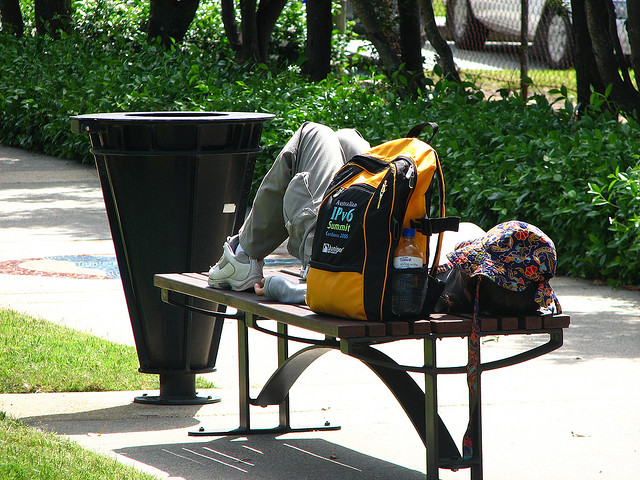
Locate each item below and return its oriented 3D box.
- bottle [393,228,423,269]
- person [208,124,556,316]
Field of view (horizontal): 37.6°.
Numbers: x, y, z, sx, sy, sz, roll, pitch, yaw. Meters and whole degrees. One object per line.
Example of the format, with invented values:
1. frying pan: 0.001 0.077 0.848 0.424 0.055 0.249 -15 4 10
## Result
1. bottle: 0.455 0.083 4.864 0.151 0.280 0.156 1 -3 0
2. person: 0.239 -0.119 5.610 0.861 1.052 2.644 3 2 -38
